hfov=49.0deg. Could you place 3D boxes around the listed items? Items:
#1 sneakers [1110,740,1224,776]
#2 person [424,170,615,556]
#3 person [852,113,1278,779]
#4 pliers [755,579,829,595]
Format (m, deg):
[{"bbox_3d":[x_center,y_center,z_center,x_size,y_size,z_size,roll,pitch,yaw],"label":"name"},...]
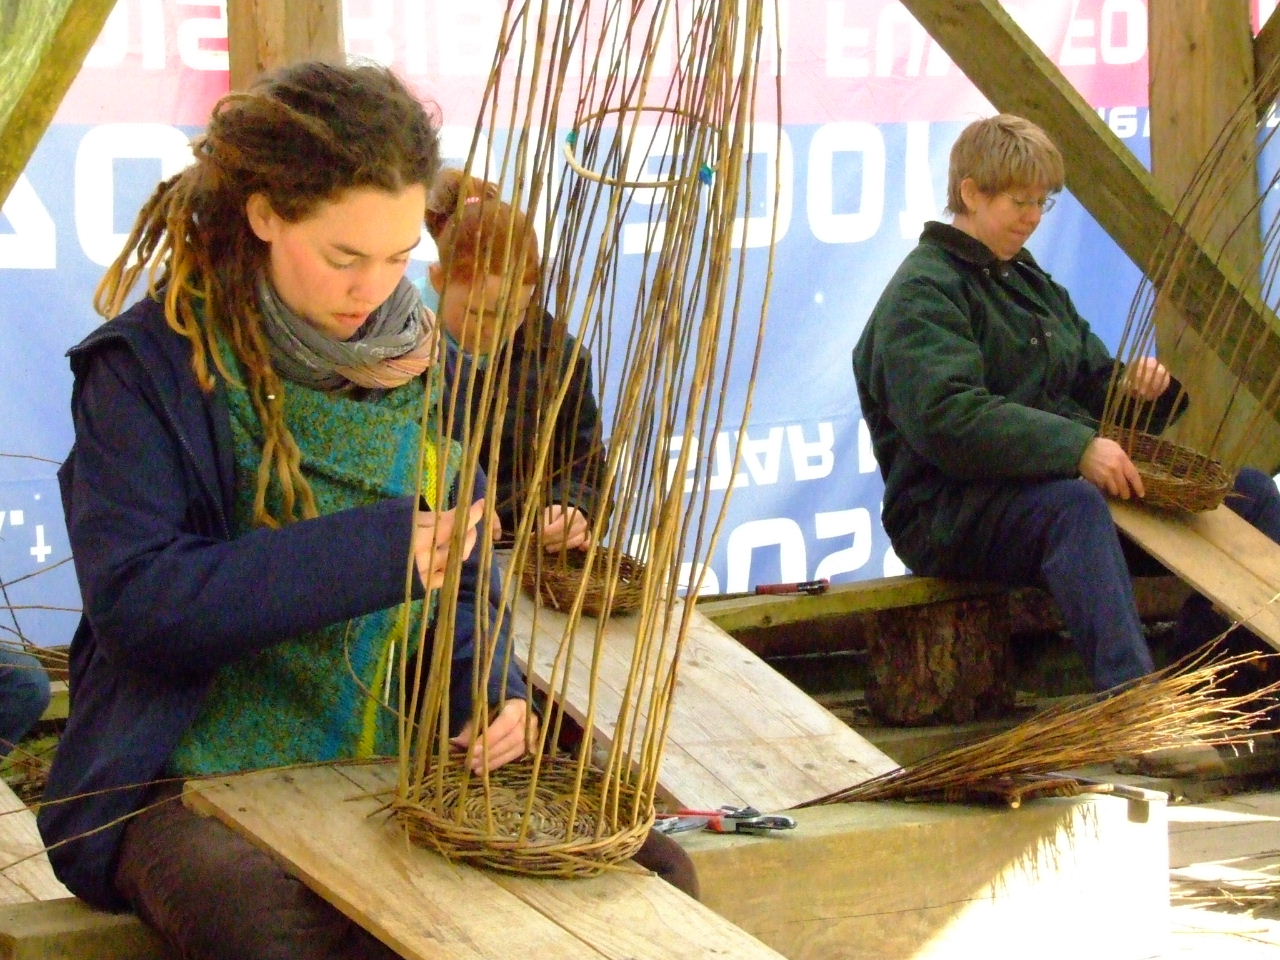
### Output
[{"bbox_3d":[1.178,0.623,3.103,0.221,0.069,0.112,-2,-2,20],"label":"sneakers"},{"bbox_3d":[-0.261,-0.163,2.472,0.344,0.516,0.717,-7,20,-12],"label":"person"},{"bbox_3d":[0.801,-0.202,3.148,0.599,1.238,0.718,-1,-1,6],"label":"person"},{"bbox_3d":[0.366,0.261,3.379,0.128,0.032,0.161,0,-2,-45],"label":"pliers"}]
